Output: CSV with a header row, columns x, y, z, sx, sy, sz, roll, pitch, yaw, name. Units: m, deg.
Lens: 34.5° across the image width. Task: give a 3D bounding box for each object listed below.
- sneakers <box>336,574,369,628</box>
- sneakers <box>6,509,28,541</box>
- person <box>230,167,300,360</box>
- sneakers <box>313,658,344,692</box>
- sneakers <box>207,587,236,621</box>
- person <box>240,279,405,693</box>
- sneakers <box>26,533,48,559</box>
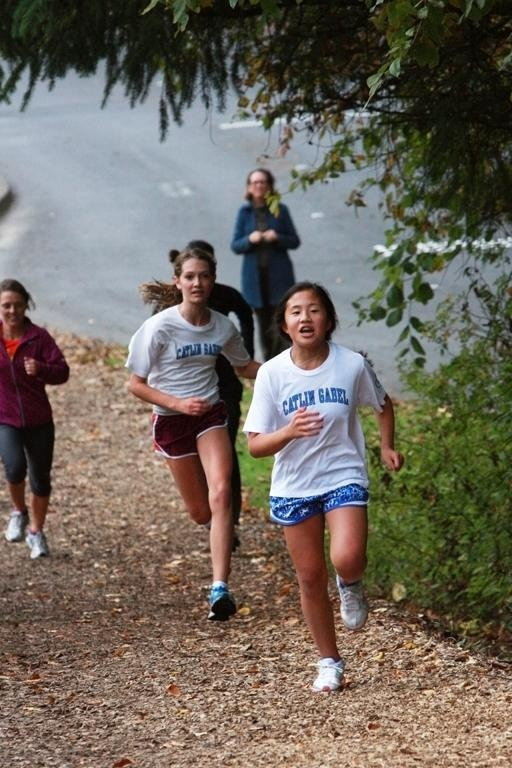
x,y,z,sx,sy,sz,roll,pitch,yaw,name
0.405,0.920,3.464,0.115,0.273,0.118,-11,1,17,sneakers
-1.611,0.933,5.556,0.103,0.106,0.241,4,39,-7,sneakers
0.102,-0.978,7.048,0.620,1.618,0.556,-5,18,-1,person
0.287,1.182,3.314,0.110,0.073,0.159,0,39,14,sneakers
-0.178,1.115,4.163,0.129,0.190,0.240,-3,0,-5,sneakers
0.295,0.408,3.305,0.458,1.540,0.648,-3,1,41,person
-1.480,1.080,5.545,0.125,0.092,0.218,-14,34,-18,sneakers
